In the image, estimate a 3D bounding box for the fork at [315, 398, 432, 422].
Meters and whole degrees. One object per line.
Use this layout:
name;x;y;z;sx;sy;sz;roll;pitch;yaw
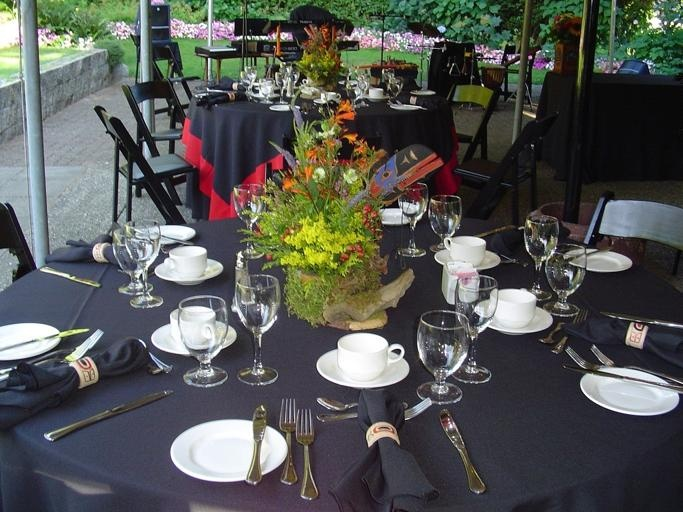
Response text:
fork;0.064;0.320;1.106;0.192;0.037;0.028;-2;38;-11

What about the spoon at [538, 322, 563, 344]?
spoon;0.551;0.199;1.391;0.032;0.016;0.125;9;18;23

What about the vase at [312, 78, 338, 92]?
vase;-0.128;-1.461;4.507;0.175;0.092;0.187;2;18;9

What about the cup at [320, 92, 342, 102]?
cup;-0.089;-1.228;4.122;0.134;0.094;0.221;-1;11;1

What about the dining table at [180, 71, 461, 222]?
dining table;-0.286;-0.706;4.805;2.332;1.251;2.438;-9;4;-14

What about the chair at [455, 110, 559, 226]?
chair;1.179;-0.584;3.861;0.636;0.866;0.438;11;19;36

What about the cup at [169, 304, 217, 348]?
cup;-0.324;0.166;1.188;0.075;0.075;0.097;-11;11;-42

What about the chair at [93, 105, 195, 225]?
chair;-1.349;-0.571;3.701;0.613;0.859;0.530;-9;25;-28

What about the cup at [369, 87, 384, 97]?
cup;0.292;-1.381;4.480;0.116;0.097;0.117;2;20;-1

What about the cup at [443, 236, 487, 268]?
cup;0.413;-0.025;1.742;0.112;0.082;0.092;3;11;21

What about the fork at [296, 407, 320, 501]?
fork;-0.065;0.379;1.014;0.025;0.208;0.016;-2;22;-2

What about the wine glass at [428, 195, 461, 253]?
wine glass;0.354;-0.118;1.830;0.108;0.180;0.109;14;24;40

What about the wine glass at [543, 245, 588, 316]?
wine glass;0.644;0.058;1.536;0.119;0.197;0.114;-11;17;-31

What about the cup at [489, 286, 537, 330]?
cup;0.462;0.141;1.428;0.113;0.078;0.111;-2;12;0

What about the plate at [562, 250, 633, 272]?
plate;0.880;0.013;1.779;0.149;0.017;0.156;9;29;28

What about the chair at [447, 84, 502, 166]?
chair;1.022;-1.133;4.676;0.477;0.742;0.522;20;26;36

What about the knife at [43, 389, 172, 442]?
knife;-0.483;0.330;1.089;0.203;0.018;0.034;-15;28;-37

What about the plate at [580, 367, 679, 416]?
plate;0.641;0.301;1.178;0.103;0.013;0.109;4;30;17

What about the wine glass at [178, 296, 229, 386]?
wine glass;-0.315;0.198;1.218;0.097;0.174;0.107;-3;13;-10

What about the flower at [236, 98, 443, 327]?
flower;-0.016;-0.106;1.501;0.376;0.542;0.500;1;18;4

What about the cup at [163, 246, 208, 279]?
cup;-0.480;0.030;1.654;0.114;0.081;0.096;-5;7;-6

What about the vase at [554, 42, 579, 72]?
vase;2.378;-2.136;5.641;0.233;0.303;0.241;11;25;20

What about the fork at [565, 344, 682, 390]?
fork;0.629;0.274;1.259;0.285;0.047;0.088;8;33;21

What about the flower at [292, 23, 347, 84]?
flower;-0.175;-1.703;4.525;0.394;0.524;0.376;-29;40;-36

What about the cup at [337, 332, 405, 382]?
cup;0.065;0.239;1.230;0.153;0.085;0.124;4;12;20

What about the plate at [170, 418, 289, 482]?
plate;-0.213;0.368;1.008;0.216;0.031;0.141;-1;25;-8

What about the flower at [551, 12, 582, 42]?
flower;2.351;-2.422;5.567;0.275;0.256;0.510;10;25;18

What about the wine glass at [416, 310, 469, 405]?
wine glass;0.222;0.219;1.185;0.106;0.183;0.111;2;13;11

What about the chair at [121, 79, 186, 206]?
chair;-1.745;-0.986;4.523;0.587;0.930;0.510;-10;16;-3
